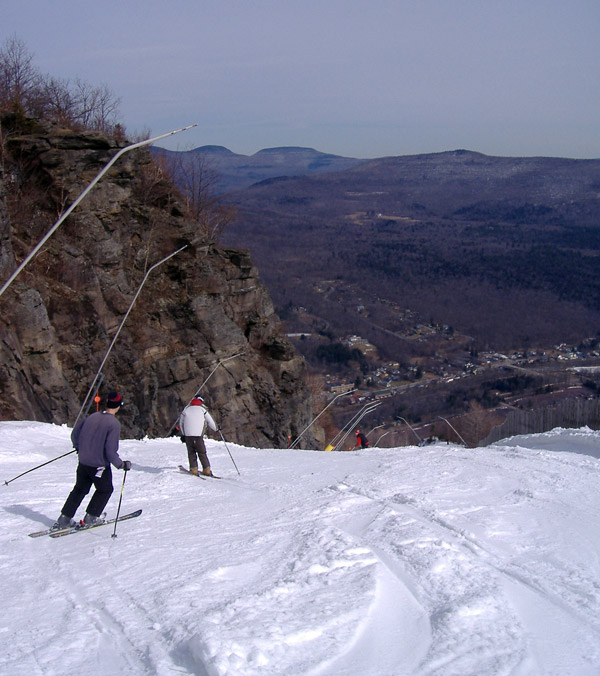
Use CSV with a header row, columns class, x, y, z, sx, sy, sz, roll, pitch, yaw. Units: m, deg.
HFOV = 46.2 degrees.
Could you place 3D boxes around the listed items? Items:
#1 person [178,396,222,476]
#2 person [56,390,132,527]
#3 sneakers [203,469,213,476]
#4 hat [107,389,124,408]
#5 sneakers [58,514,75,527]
class,x,y,z,sx,sy,sz,roll,pitch,yaw
person,-1.924,1.860,13.207,0.710,1.521,1.362,-1,3,-10
person,-2.742,1.597,9.331,0.910,1.704,0.953,-1,3,-13
sneakers,-1.690,2.474,12.890,0.105,0.137,0.153,-1,4,5
hat,-2.521,0.847,9.600,0.312,0.103,0.390,1,12,-8
sneakers,-3.011,2.358,9.042,0.126,0.168,0.186,16,27,6
